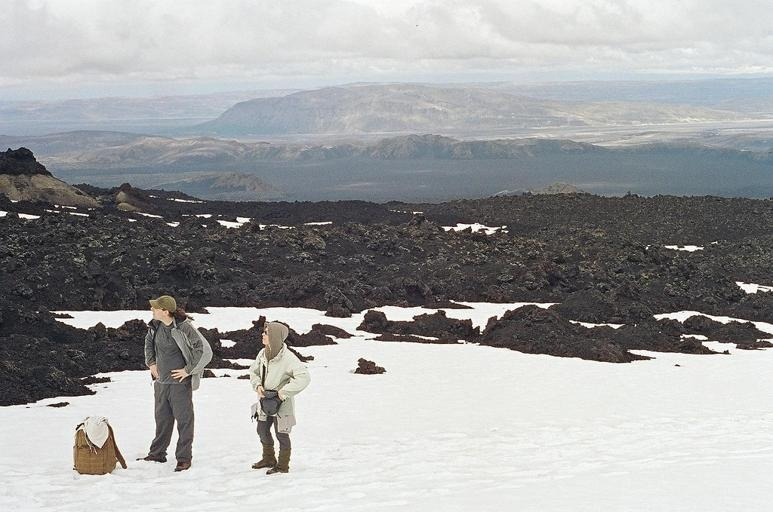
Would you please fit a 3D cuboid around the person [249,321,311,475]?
[{"bbox_3d":[-2.194,2.879,16.397,1.220,3.069,0.619,-5,9,-8],"label":"person"}]

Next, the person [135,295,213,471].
[{"bbox_3d":[-4.251,2.580,16.540,1.386,3.508,0.783,-5,9,-10],"label":"person"}]

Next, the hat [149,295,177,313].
[{"bbox_3d":[-4.478,0.995,16.494,0.565,0.223,0.325,10,20,-15],"label":"hat"}]

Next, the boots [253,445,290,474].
[{"bbox_3d":[-2.260,4.186,16.514,0.819,0.407,0.626,-5,-14,43],"label":"boots"}]
